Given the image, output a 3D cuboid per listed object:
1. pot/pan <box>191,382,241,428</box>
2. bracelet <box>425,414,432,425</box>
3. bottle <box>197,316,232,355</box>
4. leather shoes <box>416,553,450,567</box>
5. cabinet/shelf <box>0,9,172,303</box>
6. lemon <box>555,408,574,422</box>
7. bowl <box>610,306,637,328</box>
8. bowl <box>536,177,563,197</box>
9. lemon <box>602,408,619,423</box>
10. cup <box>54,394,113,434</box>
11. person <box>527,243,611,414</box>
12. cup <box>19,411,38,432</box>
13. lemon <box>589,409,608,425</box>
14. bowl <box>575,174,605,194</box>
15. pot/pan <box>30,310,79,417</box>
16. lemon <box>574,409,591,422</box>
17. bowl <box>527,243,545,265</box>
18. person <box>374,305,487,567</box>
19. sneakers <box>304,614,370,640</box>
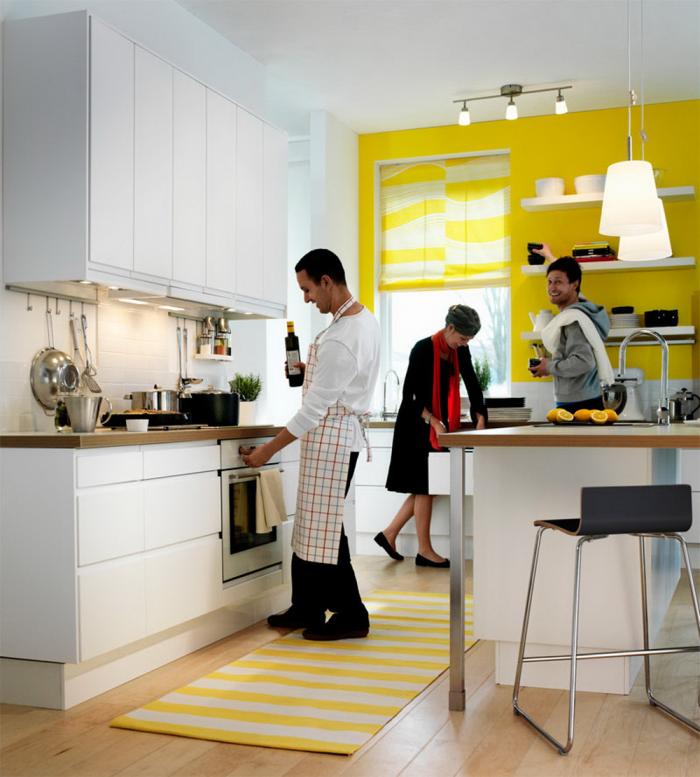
[{"bbox_3d":[-0.641,0.079,3.456,0.165,0.149,0.166,-2,4,-37],"label":"pot/pan"},{"bbox_3d":[0.470,0.188,4.352,0.033,0.053,0.053,0,-31,2],"label":"bracelet"},{"bbox_3d":[-0.769,-0.293,3.988,0.072,0.219,0.213,-1,-1,18],"label":"bottle"},{"bbox_3d":[0.534,1.107,4.691,0.223,0.104,0.082,-2,-4,9],"label":"leather shoes"},{"bbox_3d":[-1.058,-0.882,2.704,0.511,1.005,0.327,1,-6,-19],"label":"cabinet/shelf"},{"bbox_3d":[0.835,0.109,2.820,0.067,0.048,0.160,-3,-7,20],"label":"lemon"},{"bbox_3d":[1.859,-0.478,4.905,0.141,0.150,0.153,0,3,0],"label":"bowl"},{"bbox_3d":[1.394,-1.402,5.043,0.140,0.120,0.140,-1,1,0],"label":"bowl"},{"bbox_3d":[0.972,0.099,2.712,0.052,0.059,0.054,1,-12,-15],"label":"lemon"},{"bbox_3d":[-1.003,0.079,2.599,0.201,0.156,0.158,0,-3,-2],"label":"cup"},{"bbox_3d":[1.047,-0.270,3.445,0.358,0.778,0.471,-3,-6,21],"label":"person"},{"bbox_3d":[-1.235,0.126,2.757,0.056,0.116,0.062,-1,3,-21],"label":"cup"},{"bbox_3d":[0.918,0.108,2.654,0.067,0.050,0.070,-2,-6,13],"label":"lemon"},{"bbox_3d":[1.633,-1.363,4.938,0.138,0.114,0.143,0,0,0],"label":"bowl"},{"bbox_3d":[-1.178,-0.118,2.867,0.115,0.429,0.198,-1,-5,1],"label":"pot/pan"},{"bbox_3d":[0.872,0.102,2.715,0.052,0.037,0.037,-4,2,-32],"label":"lemon"},{"bbox_3d":[1.295,-0.945,5.055,0.139,0.162,0.114,-1,7,2],"label":"bowl"},{"bbox_3d":[0.502,0.357,4.482,0.589,1.538,1.192,0,-6,-8],"label":"person"},{"bbox_3d":[-0.053,1.005,3.051,0.254,0.117,0.108,2,-7,-6],"label":"sneakers"}]
